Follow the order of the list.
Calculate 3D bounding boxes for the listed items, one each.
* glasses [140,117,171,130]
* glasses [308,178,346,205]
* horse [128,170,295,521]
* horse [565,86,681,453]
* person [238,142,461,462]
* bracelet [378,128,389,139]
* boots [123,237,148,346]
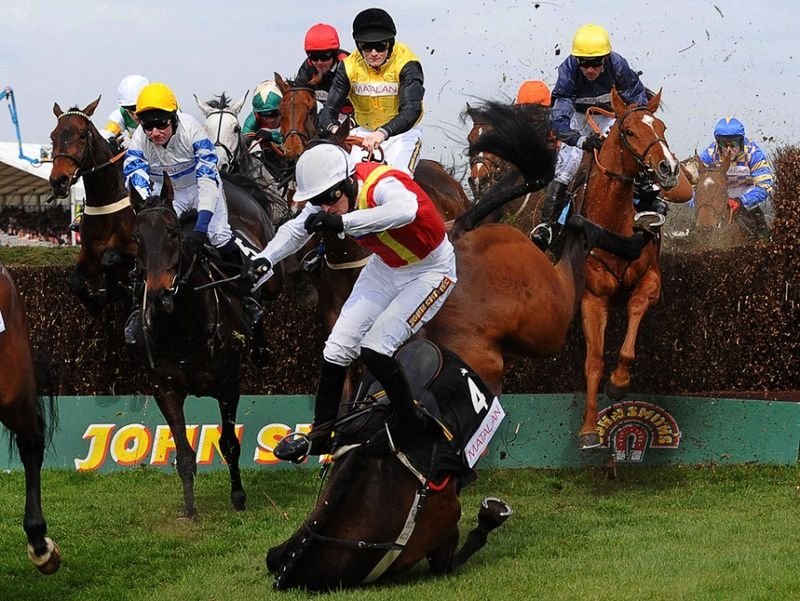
[{"bbox_3d":[-1.800,-1.315,7.439,0.207,0.085,0.112,0,3,-14],"label":"glasses"},{"bbox_3d":[-0.439,-0.640,5.950,0.140,0.069,0.174,-23,20,43],"label":"glasses"},{"bbox_3d":[-1.585,0.512,8.165,0.844,2.417,3.332,-9,-3,-4],"label":"horse"},{"bbox_3d":[1.942,-0.001,8.950,0.842,2.692,3.557,2,-12,10],"label":"horse"},{"bbox_3d":[-0.150,-0.075,6.020,0.962,1.744,0.649,0,3,-1],"label":"person"},{"bbox_3d":[-0.138,-1.325,7.909,0.083,0.020,0.083,15,24,-48],"label":"bracelet"},{"bbox_3d":[-1.951,-0.051,7.562,0.238,0.811,0.195,1,5,-5],"label":"boots"}]
